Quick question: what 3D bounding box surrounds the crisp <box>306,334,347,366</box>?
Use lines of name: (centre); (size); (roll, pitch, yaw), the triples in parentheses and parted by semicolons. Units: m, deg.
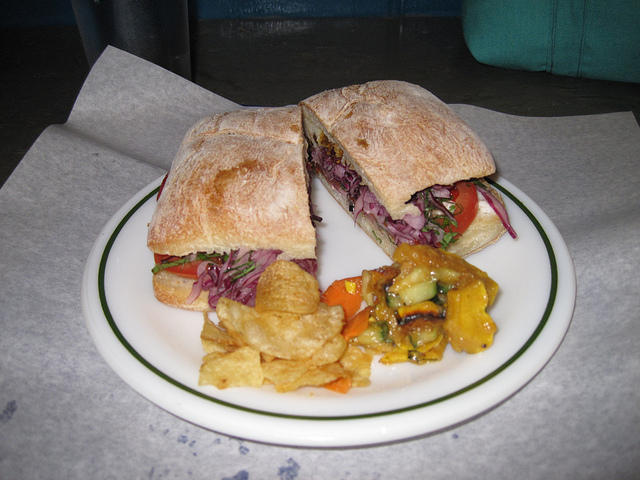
crisp: (0.024, 0.424, 1.894); (0.123, 0.098, 0.035); (-29, 106, 1)

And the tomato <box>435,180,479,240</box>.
tomato: (0.677, -0.155, 2.428); (0.226, 0.140, 0.272); (10, 77, 19)

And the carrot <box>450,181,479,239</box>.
carrot: (0.692, -0.134, 2.363); (0.163, 0.070, 0.258); (3, 80, -7)

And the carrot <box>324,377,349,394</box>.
carrot: (0.066, 0.537, 1.834); (0.083, 0.016, 0.054); (17, 73, 3)
